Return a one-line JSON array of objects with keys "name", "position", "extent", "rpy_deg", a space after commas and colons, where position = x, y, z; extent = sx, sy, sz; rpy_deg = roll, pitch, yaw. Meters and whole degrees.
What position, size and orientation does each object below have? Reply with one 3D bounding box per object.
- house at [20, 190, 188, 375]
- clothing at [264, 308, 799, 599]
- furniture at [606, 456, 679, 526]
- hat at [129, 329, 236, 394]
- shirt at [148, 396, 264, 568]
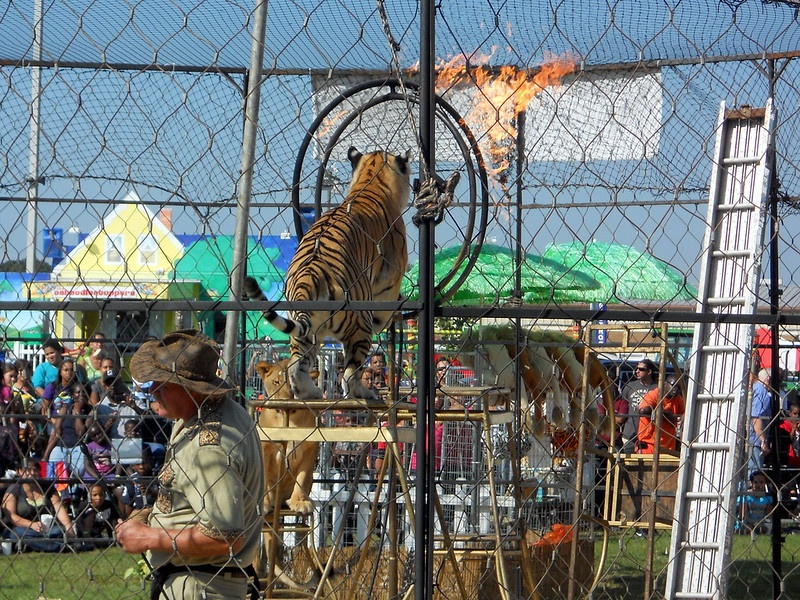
[{"name": "house", "position": [-2.737, -0.058, 18.841], "extent": [1.616, 1.717, 1.526], "rpy_deg": [1, -4, -6]}, {"name": "clothing", "position": [1.068, 1.577, 18.136], "extent": [4.627, 3.352, 2.691], "rpy_deg": [2, -11, 0]}, {"name": "furniture", "position": [2.293, 1.769, 19.527], "extent": [0.492, 0.704, 0.911], "rpy_deg": [0, -3, 18]}, {"name": "hat", "position": [-1.648, 0.416, 15.624], "extent": [0.858, 0.382, 0.853], "rpy_deg": [14, 12, -2]}, {"name": "shirt", "position": [-1.535, 1.322, 15.373], "extent": [0.908, 1.518, 1.775], "rpy_deg": [3, -2, -2]}]
